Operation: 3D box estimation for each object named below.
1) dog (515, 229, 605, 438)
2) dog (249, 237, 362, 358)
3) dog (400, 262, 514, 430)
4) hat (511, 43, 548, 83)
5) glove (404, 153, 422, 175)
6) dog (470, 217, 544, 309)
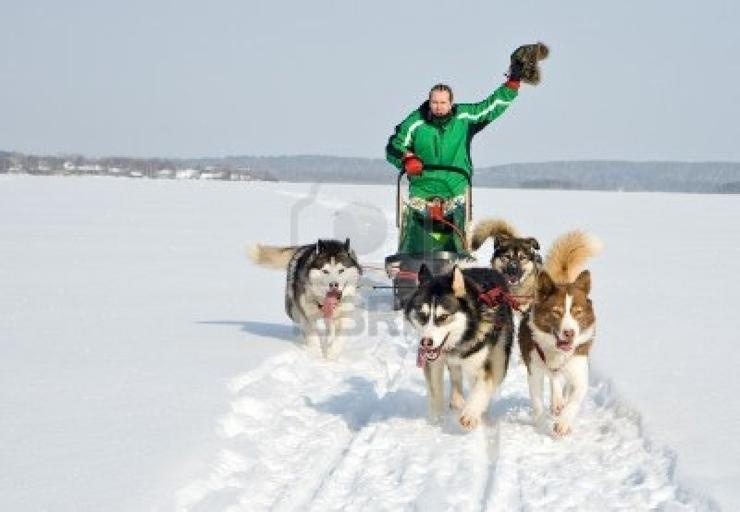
[{"bbox_3d":[2.727,0.975,14.385,0.937,2.389,3.497,4,9,11],"label":"dog"},{"bbox_3d":[-1.147,0.475,16.981,1.020,1.793,3.124,0,13,-29],"label":"dog"},{"bbox_3d":[1.263,1.152,13.814,1.415,2.082,1.502,-2,14,-5],"label":"dog"},{"bbox_3d":[2.599,-3.120,16.526,0.609,0.675,0.334,2,13,8],"label":"hat"},{"bbox_3d":[0.675,-1.406,16.040,0.298,0.353,0.307,2,14,11],"label":"glove"},{"bbox_3d":[2.314,-0.025,16.906,0.844,0.981,1.714,4,53,3],"label":"dog"}]
